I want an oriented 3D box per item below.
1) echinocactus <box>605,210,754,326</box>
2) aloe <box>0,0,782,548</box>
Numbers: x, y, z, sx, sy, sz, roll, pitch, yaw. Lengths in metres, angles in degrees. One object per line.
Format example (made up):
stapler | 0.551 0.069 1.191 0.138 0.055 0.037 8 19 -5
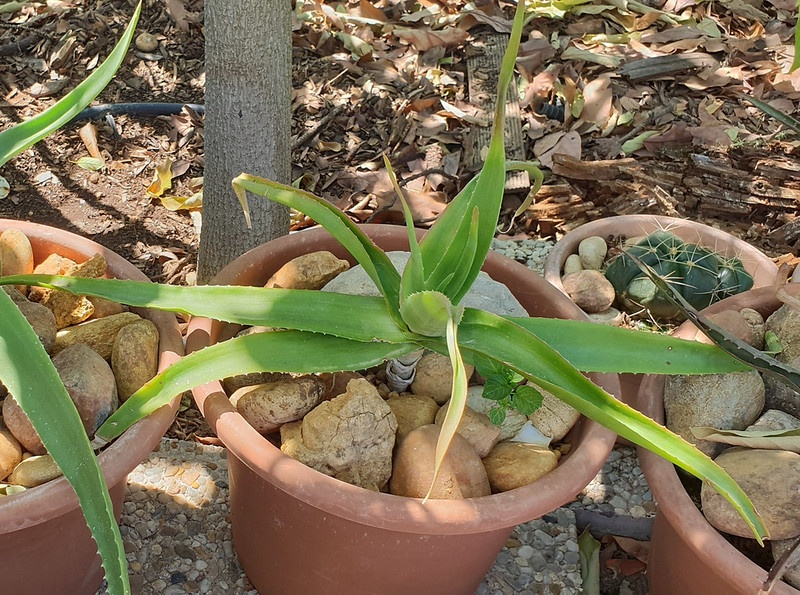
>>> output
echinocactus | 0.837 -0.071 1.974 0.396 0.152 0.325 -4 77 2
aloe | 0.016 0.063 1.630 1.247 0.660 1.163 6 45 -3
